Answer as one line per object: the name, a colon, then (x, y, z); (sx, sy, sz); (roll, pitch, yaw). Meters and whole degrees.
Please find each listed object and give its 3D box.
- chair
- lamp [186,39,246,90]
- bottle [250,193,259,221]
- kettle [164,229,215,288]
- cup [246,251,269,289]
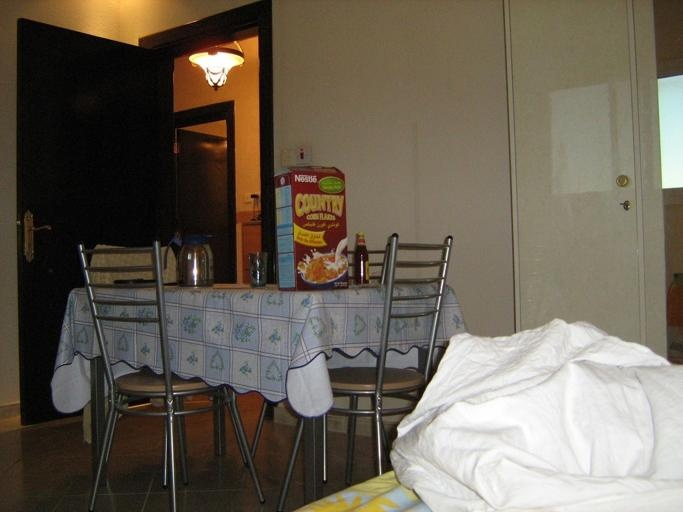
chair: (-0.295, 0.483, 2.503); (1.238, 0.898, 1.267); (0, -2, 20)
lamp: (-1.057, -1.639, 5.174); (0.476, 0.504, 0.500); (0, 11, 9)
bottle: (-0.950, -0.542, 6.568); (0.090, 0.271, 0.204); (-4, 4, -13)
kettle: (-0.645, 0.016, 2.534); (0.156, 0.228, 0.204); (7, 8, 35)
cup: (-0.346, 0.054, 2.459); (0.087, 0.147, 0.088); (0, 7, 0)
